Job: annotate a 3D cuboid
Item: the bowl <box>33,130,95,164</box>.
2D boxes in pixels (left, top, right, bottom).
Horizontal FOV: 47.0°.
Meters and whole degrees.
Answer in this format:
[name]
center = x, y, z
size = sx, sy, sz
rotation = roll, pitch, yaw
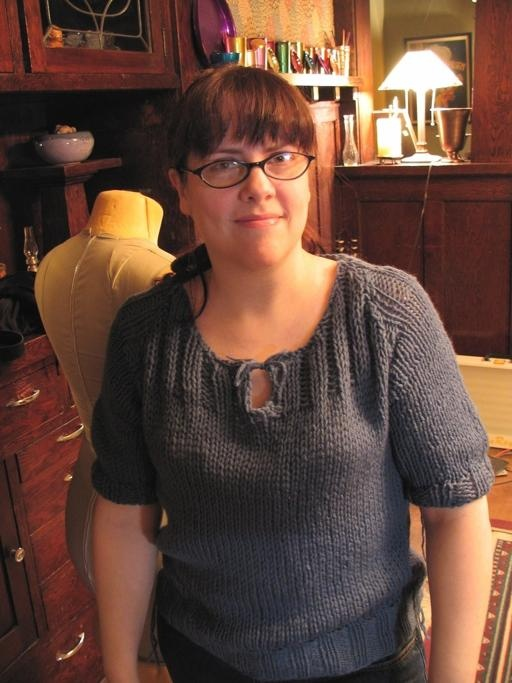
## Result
[bowl]
center = -0.603, -0.596, 1.841
size = 0.124, 0.068, 0.118
rotation = -1, 14, 0
